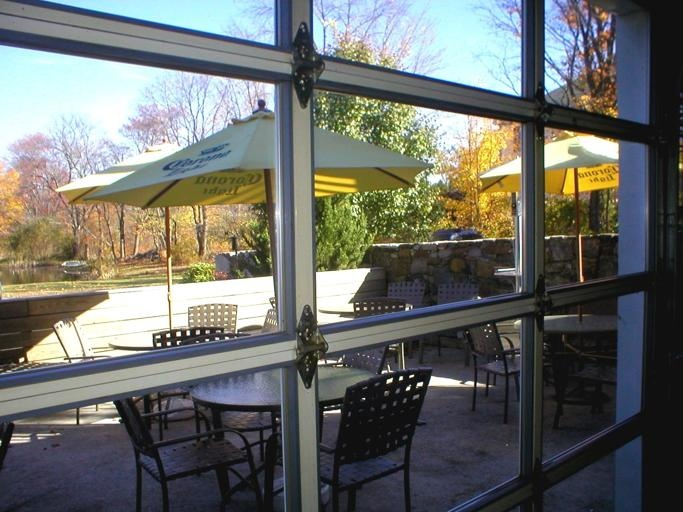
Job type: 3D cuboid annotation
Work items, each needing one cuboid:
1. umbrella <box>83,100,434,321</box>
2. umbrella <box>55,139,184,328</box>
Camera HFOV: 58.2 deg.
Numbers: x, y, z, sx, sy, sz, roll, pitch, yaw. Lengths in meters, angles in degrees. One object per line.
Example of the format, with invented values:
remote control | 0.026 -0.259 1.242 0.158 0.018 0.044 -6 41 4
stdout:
umbrella | -0.512 -0.226 3.615 1.402 0.835 1.371 -3 -4 12
umbrella | -1.318 -0.183 3.899 0.879 0.964 1.017 -10 12 -5
